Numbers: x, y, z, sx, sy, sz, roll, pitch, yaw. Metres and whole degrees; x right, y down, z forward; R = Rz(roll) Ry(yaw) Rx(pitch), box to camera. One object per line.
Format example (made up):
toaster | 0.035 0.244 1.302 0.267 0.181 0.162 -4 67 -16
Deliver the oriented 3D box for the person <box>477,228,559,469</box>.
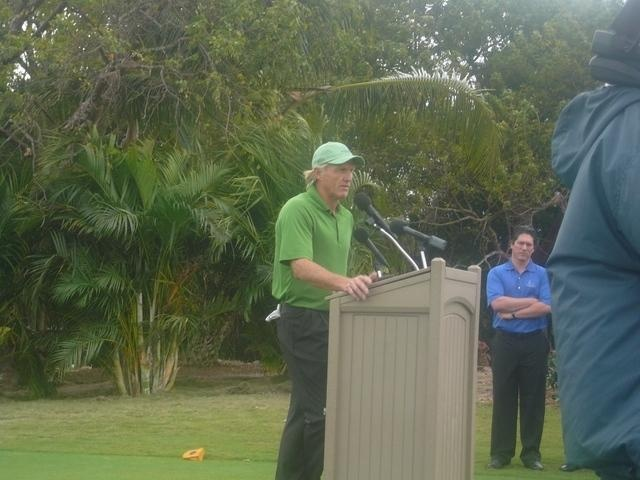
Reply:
person | 2.054 1.074 7.903 0.640 2.503 0.768 0 -4 18

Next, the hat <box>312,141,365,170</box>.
hat | 0.126 -0.617 5.591 0.268 0.175 0.207 2 0 30

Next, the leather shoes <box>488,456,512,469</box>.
leather shoes | 1.798 2.255 7.585 0.090 0.136 0.280 -15 -28 40

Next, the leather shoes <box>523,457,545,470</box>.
leather shoes | 2.124 2.232 7.532 0.134 0.072 0.096 3 3 -13
